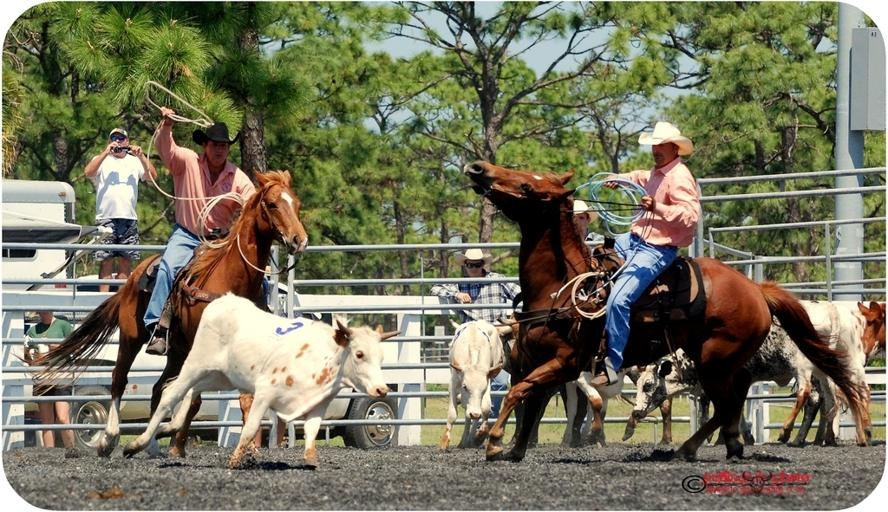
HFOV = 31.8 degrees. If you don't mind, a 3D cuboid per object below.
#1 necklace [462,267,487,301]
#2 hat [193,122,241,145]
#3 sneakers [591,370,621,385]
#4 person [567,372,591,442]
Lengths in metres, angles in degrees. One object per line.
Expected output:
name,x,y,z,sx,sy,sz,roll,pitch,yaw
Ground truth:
necklace,0.612,0.600,31.487,0.525,0.674,0.372,6,-22,-1
hat,-4.366,-2.343,29.805,0.692,0.284,0.715,2,-7,-25
sneakers,3.016,2.236,28.537,0.242,0.162,0.534,-3,-5,44
person,2.599,2.891,30.158,0.351,1.468,1.014,-6,5,0
